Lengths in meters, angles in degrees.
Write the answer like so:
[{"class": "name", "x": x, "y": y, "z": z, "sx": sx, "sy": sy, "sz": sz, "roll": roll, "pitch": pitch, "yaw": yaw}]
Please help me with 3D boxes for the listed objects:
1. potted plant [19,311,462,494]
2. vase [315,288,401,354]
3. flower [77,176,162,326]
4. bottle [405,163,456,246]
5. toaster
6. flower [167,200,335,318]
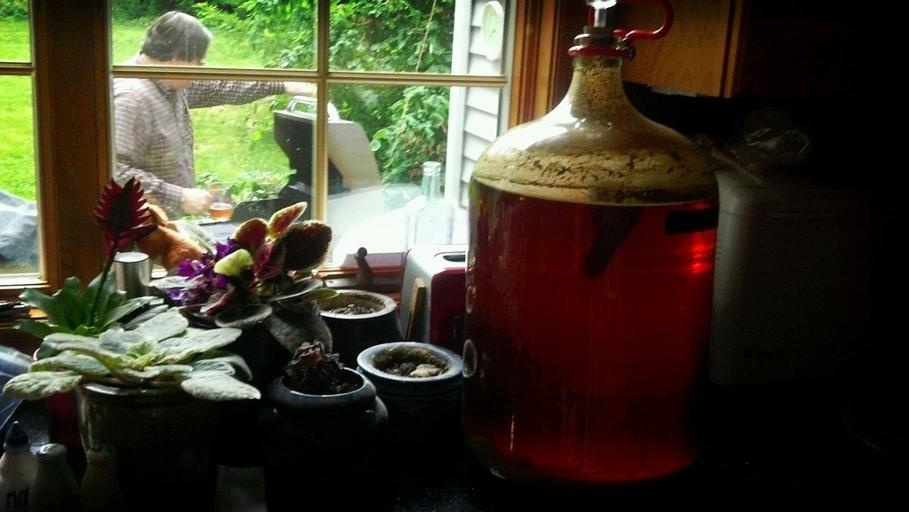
[{"class": "potted plant", "x": -0.384, "y": 0.276, "z": 1.325, "sx": 0.796, "sy": 0.193, "sz": 0.288, "roll": 4, "pitch": -9, "yaw": -14}, {"class": "vase", "x": -0.198, "y": 0.143, "z": 1.556, "sx": 0.167, "sy": 0.130, "sz": 0.153, "roll": 4, "pitch": 12, "yaw": 12}, {"class": "flower", "x": -0.668, "y": -0.019, "z": 1.425, "sx": 0.125, "sy": 0.305, "sz": 0.047, "roll": 21, "pitch": 14, "yaw": -17}, {"class": "bottle", "x": -0.068, "y": -0.139, "z": 1.973, "sx": 0.128, "sy": 0.232, "sz": 0.082, "roll": 14, "pitch": 20, "yaw": 38}, {"class": "toaster", "x": -0.046, "y": 0.104, "z": 1.639, "sx": 0.114, "sy": 0.166, "sz": 0.200, "roll": 1, "pitch": 27, "yaw": -12}, {"class": "flower", "x": -0.414, "y": 0.000, "z": 1.446, "sx": 0.321, "sy": 0.200, "sz": 0.172, "roll": -2, "pitch": 15, "yaw": -12}]
